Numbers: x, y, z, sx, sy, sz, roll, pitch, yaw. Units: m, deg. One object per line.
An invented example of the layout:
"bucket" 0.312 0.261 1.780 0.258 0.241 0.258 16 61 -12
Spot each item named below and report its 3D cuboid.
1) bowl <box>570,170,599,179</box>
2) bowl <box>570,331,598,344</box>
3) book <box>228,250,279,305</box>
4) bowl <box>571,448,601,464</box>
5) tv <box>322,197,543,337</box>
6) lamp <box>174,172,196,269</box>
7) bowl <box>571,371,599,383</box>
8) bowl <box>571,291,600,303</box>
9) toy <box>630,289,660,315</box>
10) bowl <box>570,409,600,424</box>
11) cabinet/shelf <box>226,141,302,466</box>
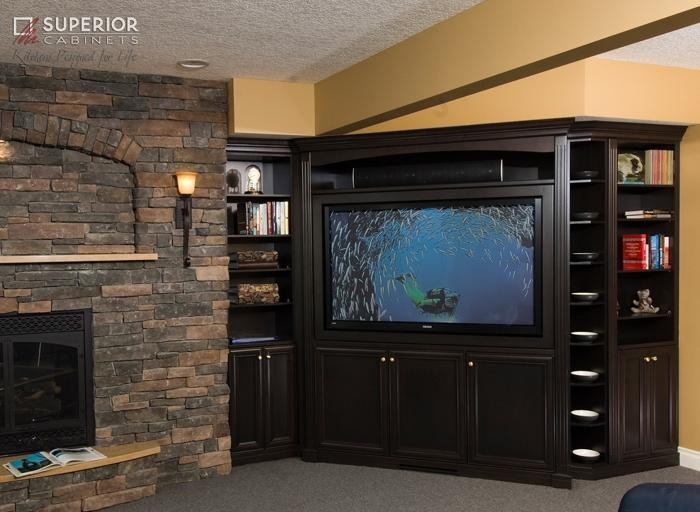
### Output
"bowl" 1.924 -0.665 4.520 0.178 0.084 0.224 2 4 32
"bowl" 1.924 0.663 4.524 0.213 0.075 0.142 0 3 13
"book" -0.852 0.184 4.972 0.459 0.461 0.386 -1 4 -11
"bowl" 1.931 1.624 4.520 0.240 0.081 0.109 0 3 5
"tv" 0.748 0.080 4.530 1.604 0.722 0.062 1 2 14
"lamp" -1.309 -0.285 4.476 0.148 0.763 0.229 -2 4 -15
"bowl" 1.937 0.983 4.572 0.198 0.072 0.205 0 3 0
"bowl" 1.936 0.331 4.558 0.181 0.076 0.198 0 3 0
"toy" 2.576 0.398 4.827 0.271 0.195 0.139 -3 -7 25
"bowl" 1.921 1.305 4.600 0.211 0.075 0.223 -1 3 0
"cabinet/shelf" -0.798 0.378 4.949 0.604 2.767 0.593 -2 4 -10
